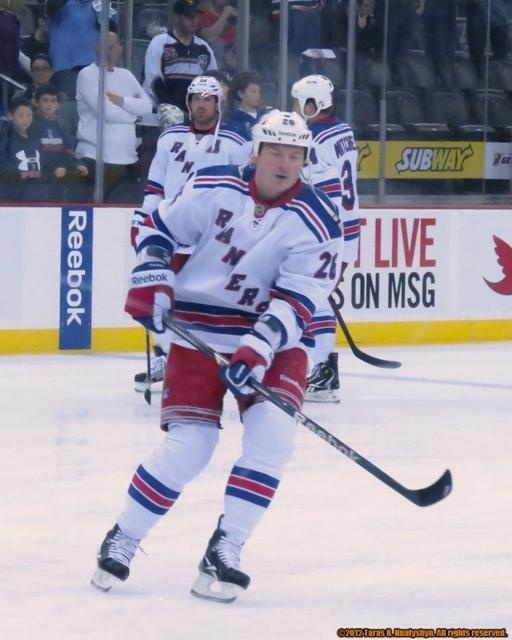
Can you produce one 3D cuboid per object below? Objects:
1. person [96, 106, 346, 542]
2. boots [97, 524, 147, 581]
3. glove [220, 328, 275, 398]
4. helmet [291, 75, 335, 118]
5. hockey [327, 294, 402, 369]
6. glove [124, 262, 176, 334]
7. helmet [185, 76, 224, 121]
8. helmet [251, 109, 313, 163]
[{"bbox_3d":[-0.072,0.023,3.222,0.564,1.132,0.386,3,10,3],"label":"person"},{"bbox_3d":[-0.357,0.609,3.196,0.096,0.147,0.116,4,10,8],"label":"boots"},{"bbox_3d":[-0.022,0.110,3.075,0.101,0.166,0.071,35,-10,-10],"label":"glove"},{"bbox_3d":[0.246,-0.974,5.289,0.198,0.173,0.158,4,11,13],"label":"helmet"},{"bbox_3d":[0.557,0.066,6.553,0.051,0.483,0.075,-18,-28,-39],"label":"hockey"},{"bbox_3d":[-0.285,-0.056,3.248,0.140,0.172,0.178,13,11,-17],"label":"glove"},{"bbox_3d":[-0.198,-0.932,5.142,0.155,0.185,0.184,1,-3,0],"label":"helmet"},{"bbox_3d":[0.063,-0.493,3.233,0.122,0.125,0.136,3,8,-9],"label":"helmet"}]
